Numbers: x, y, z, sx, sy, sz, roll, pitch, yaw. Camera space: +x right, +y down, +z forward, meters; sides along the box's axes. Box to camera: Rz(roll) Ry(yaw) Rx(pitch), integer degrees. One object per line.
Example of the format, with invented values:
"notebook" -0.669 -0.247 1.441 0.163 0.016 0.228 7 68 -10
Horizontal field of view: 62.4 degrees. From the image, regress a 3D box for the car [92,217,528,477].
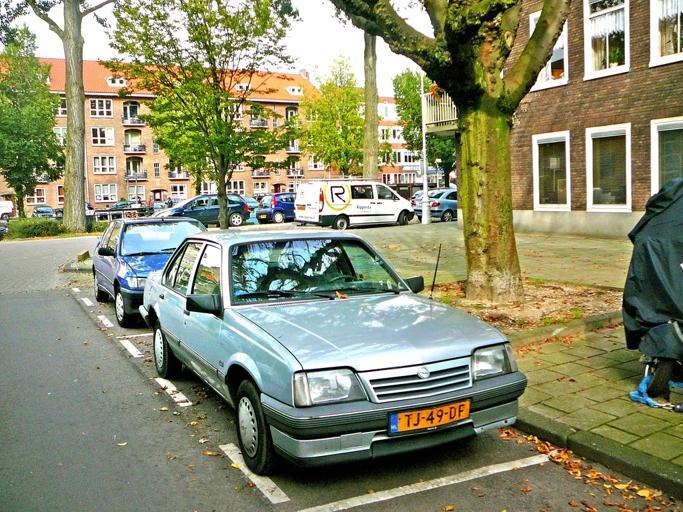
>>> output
"car" -0.259 0.716 5.338 1.953 1.827 3.327 -10 11 -38
